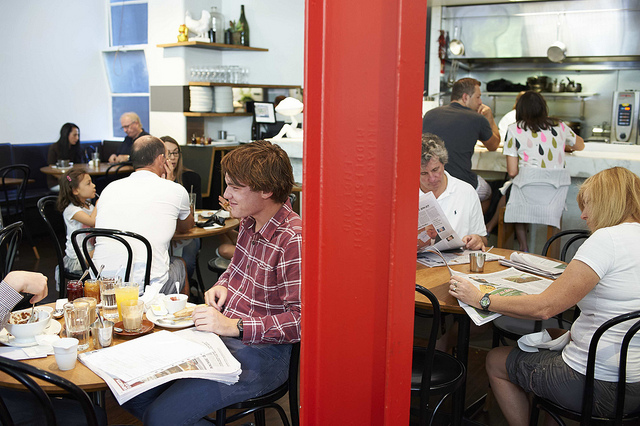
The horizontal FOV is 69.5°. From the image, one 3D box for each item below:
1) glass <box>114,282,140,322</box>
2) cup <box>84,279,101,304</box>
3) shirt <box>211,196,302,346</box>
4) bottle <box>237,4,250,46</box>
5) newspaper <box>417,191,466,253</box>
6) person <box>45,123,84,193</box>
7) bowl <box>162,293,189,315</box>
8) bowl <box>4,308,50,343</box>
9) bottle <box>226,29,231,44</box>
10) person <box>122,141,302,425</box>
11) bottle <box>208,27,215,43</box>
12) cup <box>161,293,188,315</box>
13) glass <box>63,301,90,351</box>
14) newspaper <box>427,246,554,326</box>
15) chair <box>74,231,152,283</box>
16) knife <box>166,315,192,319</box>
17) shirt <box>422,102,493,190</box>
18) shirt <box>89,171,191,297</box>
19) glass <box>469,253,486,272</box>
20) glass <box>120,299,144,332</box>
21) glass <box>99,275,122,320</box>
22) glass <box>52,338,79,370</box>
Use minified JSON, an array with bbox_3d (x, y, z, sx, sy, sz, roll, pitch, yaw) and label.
[{"bbox_3d":[-0.874,0.396,2.081,0.116,0.176,0.117,-4,-6,17],"label":"glass"},{"bbox_3d":[-1.064,0.365,2.156,0.075,0.099,0.054,4,11,37],"label":"cup"},{"bbox_3d":[-0.292,0.277,2.143,0.326,0.585,0.602,8,4,-30],"label":"shirt"},{"bbox_3d":[-1.178,-2.866,7.045,0.101,0.606,0.135,4,11,37],"label":"bottle"},{"bbox_3d":[0.678,0.052,2.617,0.351,0.411,0.039,-17,42,19],"label":"newspaper"},{"bbox_3d":[-3.477,-0.762,6.368,0.547,0.914,0.564,5,15,-40],"label":"person"},{"bbox_3d":[-0.654,0.417,2.097,0.089,0.059,0.091,0,-3,0],"label":"bowl"},{"bbox_3d":[-1.175,0.441,1.876,0.120,0.059,0.124,4,10,-1],"label":"bowl"},{"bbox_3d":[-1.396,-2.656,6.987,0.110,0.194,0.032,4,11,36],"label":"bottle"},{"bbox_3d":[-0.441,0.270,2.023,0.762,1.135,0.545,-5,9,-19],"label":"person"},{"bbox_3d":[-1.622,-2.642,6.863,0.074,0.214,0.098,-9,11,-36],"label":"bottle"},{"bbox_3d":[-0.652,0.406,2.096,0.086,0.056,0.088,0,-2,0],"label":"cup"},{"bbox_3d":[-0.992,0.468,1.860,0.112,0.192,0.118,-6,-4,-6],"label":"glass"},{"bbox_3d":[0.911,0.350,2.277,0.324,0.078,0.348,-14,23,-33],"label":"newspaper"},{"bbox_3d":[-1.241,0.265,2.805,0.241,0.374,0.252,3,19,3],"label":"chair"},{"bbox_3d":[-0.628,0.454,2.024,0.100,0.010,0.025,-2,9,3],"label":"knife"},{"bbox_3d":[1.304,-0.599,4.364,0.701,0.911,0.527,9,21,32],"label":"shirt"},{"bbox_3d":[-1.129,0.108,2.934,0.613,0.741,0.356,-7,10,-27],"label":"shirt"},{"bbox_3d":[0.831,0.260,2.448,0.080,0.081,0.090,0,1,-19],"label":"glass"},{"bbox_3d":[-0.780,0.422,1.916,0.109,0.126,0.111,-1,-1,-23],"label":"glass"},{"bbox_3d":[-0.977,0.395,2.098,0.107,0.179,0.108,-1,-11,-37],"label":"glass"},{"bbox_3d":[-0.936,0.529,1.720,0.070,0.068,0.081,-12,1,-24],"label":"glass"}]
